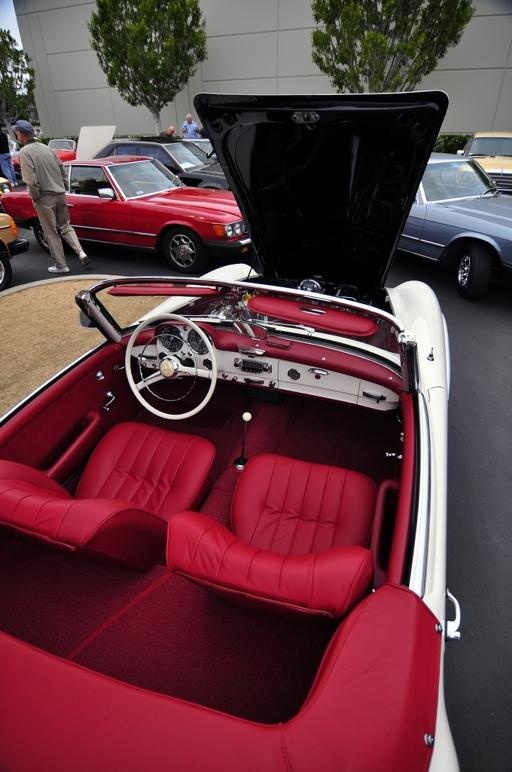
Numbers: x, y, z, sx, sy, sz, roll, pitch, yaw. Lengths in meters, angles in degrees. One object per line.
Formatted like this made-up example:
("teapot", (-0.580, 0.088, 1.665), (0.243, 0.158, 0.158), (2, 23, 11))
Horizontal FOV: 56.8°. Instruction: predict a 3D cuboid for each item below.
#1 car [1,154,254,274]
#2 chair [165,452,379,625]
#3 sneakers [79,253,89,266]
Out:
("car", (-1.560, -2.078, 6.213), (3.237, 1.127, 1.494), (17, 43, 17))
("chair", (0.089, 0.422, 1.548), (0.385, 0.580, 0.548), (12, 63, 14))
("sneakers", (-2.151, -1.579, 5.931), (0.091, 0.114, 0.276), (-8, 32, -13))
